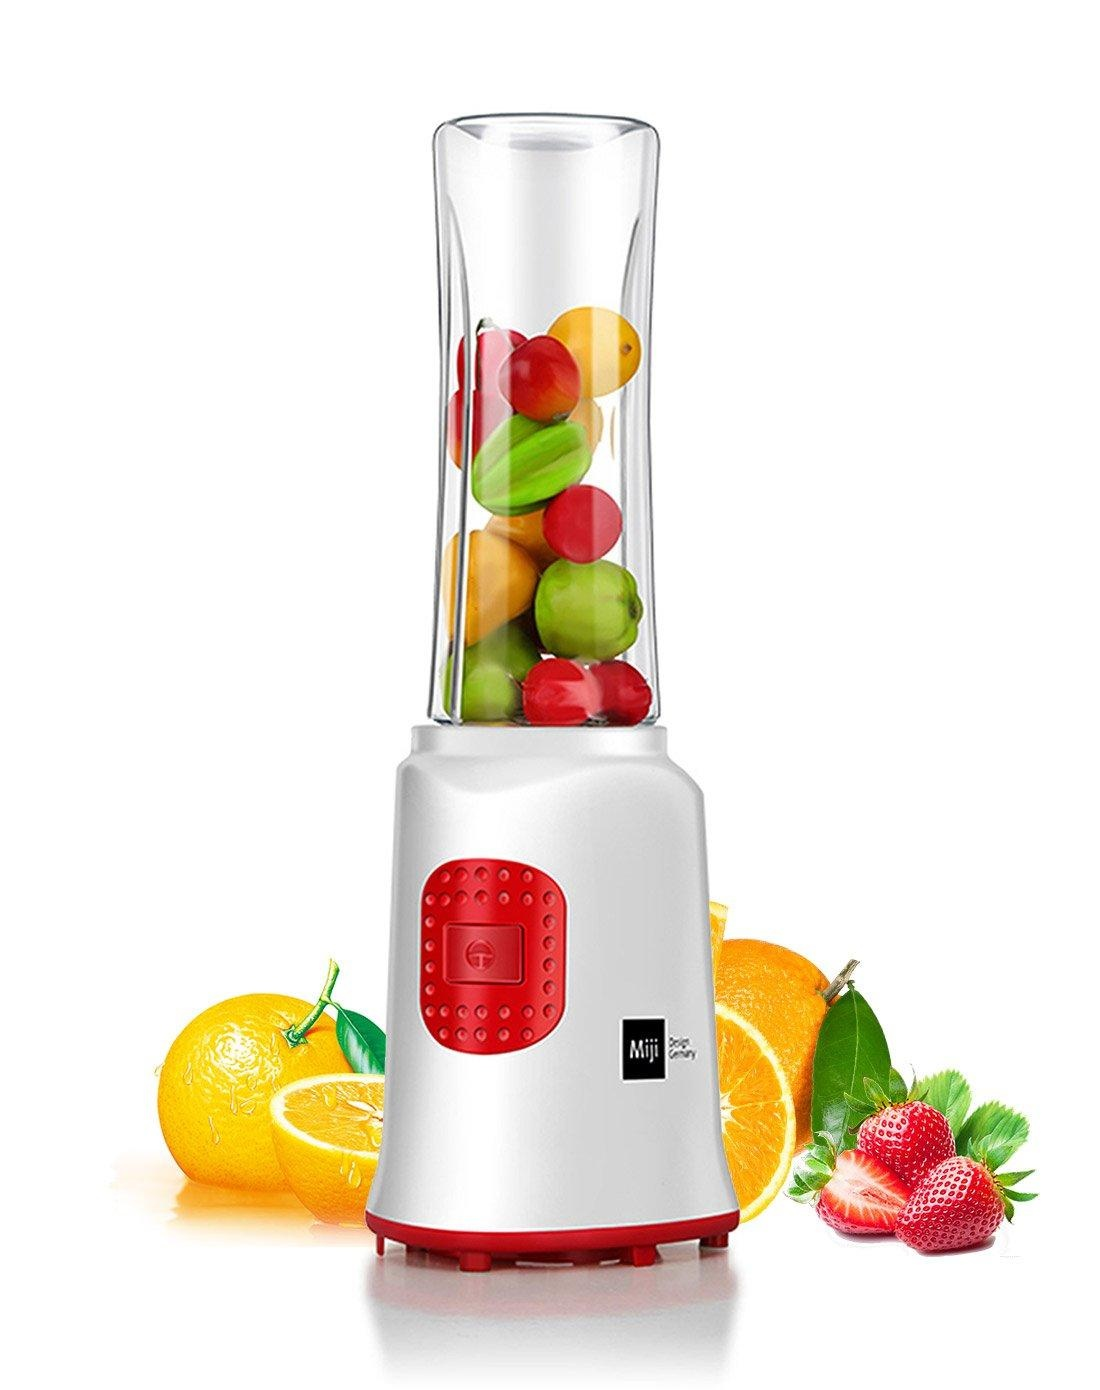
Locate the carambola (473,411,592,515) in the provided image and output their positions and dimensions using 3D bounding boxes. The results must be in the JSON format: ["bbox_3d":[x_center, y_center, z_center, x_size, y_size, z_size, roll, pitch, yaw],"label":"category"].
[{"bbox_3d":[-0.016,-0.210,1.301,0.077,0.101,0.055,52,12,4],"label":"carambola"}]

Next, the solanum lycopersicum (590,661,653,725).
[{"bbox_3d":[0.066,0.001,1.259,0.056,0.062,0.095,5,1,20],"label":"solanum lycopersicum"}]

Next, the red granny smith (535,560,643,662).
[{"bbox_3d":[0.037,-0.079,1.297,0.090,0.088,0.091,23,37,-19],"label":"red granny smith"}]

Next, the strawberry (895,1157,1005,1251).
[{"bbox_3d":[0.381,0.474,1.282,0.110,0.083,0.078,-1,-9,0],"label":"strawberry"}]

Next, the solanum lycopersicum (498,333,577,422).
[{"bbox_3d":[-0.006,-0.283,1.240,0.075,0.088,0.073,-1,4,-1],"label":"solanum lycopersicum"}]

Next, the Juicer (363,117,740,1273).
[{"bbox_3d":[-0.008,-0.022,1.275,0.326,1.053,0.204,-1,-9,-6],"label":"Juicer"}]

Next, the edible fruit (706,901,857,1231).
[{"bbox_3d":[0.274,0.406,1.475,0.098,0.276,0.251,-1,-20,27],"label":"edible fruit"}]

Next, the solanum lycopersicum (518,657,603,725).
[{"bbox_3d":[0.011,0.000,1.228,0.062,0.060,0.066,-16,-7,-1],"label":"solanum lycopersicum"}]
